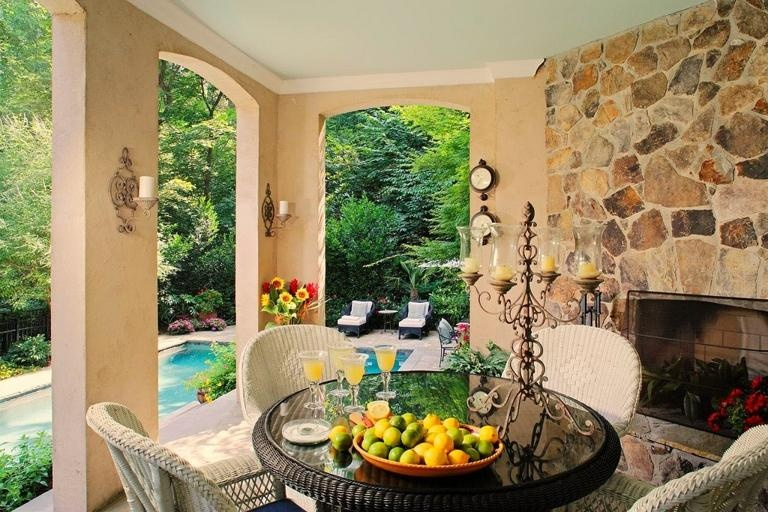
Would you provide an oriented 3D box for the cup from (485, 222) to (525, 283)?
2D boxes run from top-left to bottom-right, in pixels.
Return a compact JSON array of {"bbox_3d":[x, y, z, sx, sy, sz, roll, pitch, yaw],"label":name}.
[{"bbox_3d":[0.685,-0.019,2.768,0.183,0.323,0.194,-2,1,0],"label":"cup"}]

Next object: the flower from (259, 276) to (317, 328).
[{"bbox_3d":[-1.041,0.512,5.289,0.572,0.562,0.510,2,-11,-21],"label":"flower"}]

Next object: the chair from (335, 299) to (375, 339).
[{"bbox_3d":[-0.493,1.250,9.862,0.758,0.691,0.857,-2,-3,21],"label":"chair"}]

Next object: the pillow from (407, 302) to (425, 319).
[{"bbox_3d":[0.616,1.072,9.549,0.297,0.267,0.103,-2,-29,18],"label":"pillow"}]

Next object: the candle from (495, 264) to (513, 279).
[{"bbox_3d":[0.657,0.087,2.688,0.077,0.073,0.078,1,4,20],"label":"candle"}]

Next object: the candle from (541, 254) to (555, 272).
[{"bbox_3d":[0.921,0.046,2.733,0.081,0.081,0.083,-1,1,22],"label":"candle"}]

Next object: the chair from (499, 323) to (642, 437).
[{"bbox_3d":[1.214,0.845,3.139,0.726,0.509,0.746,7,0,-45],"label":"chair"}]

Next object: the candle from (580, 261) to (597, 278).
[{"bbox_3d":[1.134,0.081,2.715,0.085,0.077,0.087,-4,-2,38],"label":"candle"}]

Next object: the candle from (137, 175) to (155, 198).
[{"bbox_3d":[-1.786,-0.518,3.720,0.100,0.147,0.156,-2,1,29],"label":"candle"}]

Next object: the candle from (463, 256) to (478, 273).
[{"bbox_3d":[0.486,0.058,2.759,0.085,0.079,0.083,-16,19,-23],"label":"candle"}]

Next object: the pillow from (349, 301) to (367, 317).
[{"bbox_3d":[-0.531,1.078,9.864,0.266,0.251,0.096,-3,-21,17],"label":"pillow"}]

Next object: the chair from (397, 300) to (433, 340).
[{"bbox_3d":[0.600,1.246,9.465,0.557,0.691,0.571,-2,1,16],"label":"chair"}]
